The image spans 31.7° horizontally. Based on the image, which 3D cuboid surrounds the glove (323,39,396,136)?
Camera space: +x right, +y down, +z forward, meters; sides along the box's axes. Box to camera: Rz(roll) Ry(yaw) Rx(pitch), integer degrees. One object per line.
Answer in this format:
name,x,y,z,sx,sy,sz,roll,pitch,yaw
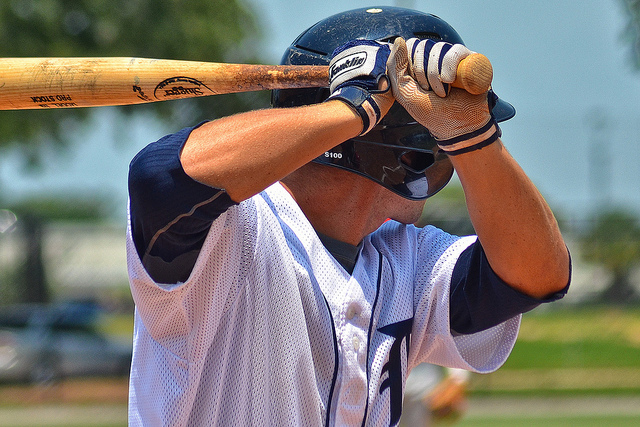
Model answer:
glove,0.189,-0.933,8.380,0.501,0.602,0.671,-7,5,43
